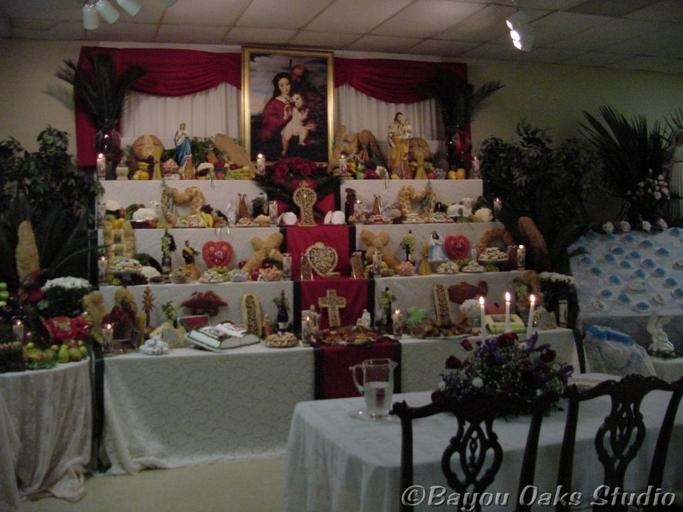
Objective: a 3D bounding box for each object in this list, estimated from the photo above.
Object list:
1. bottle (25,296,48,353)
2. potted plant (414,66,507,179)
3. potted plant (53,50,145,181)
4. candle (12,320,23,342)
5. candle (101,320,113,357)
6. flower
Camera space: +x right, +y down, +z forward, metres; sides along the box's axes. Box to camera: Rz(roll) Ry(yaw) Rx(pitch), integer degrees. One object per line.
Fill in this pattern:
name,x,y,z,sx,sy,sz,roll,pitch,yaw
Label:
bottle,-2.512,0.561,4.630,0.128,0.454,0.120,-26,-8,-4
potted plant,1.405,-1.733,7.714,1.397,1.544,1.228,2,-6,3
potted plant,-2.588,-1.515,6.743,1.267,1.680,1.170,-1,-10,-11
candle,-2.572,0.587,4.443,0.066,0.170,0.177,-3,2,-31
candle,-2.027,0.705,4.852,0.095,0.273,0.138,-3,1,-23
flower,0.864,0.635,2.772,0.558,0.413,0.627,-2,7,3
